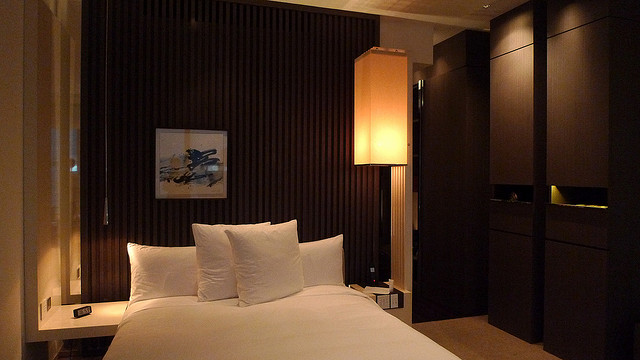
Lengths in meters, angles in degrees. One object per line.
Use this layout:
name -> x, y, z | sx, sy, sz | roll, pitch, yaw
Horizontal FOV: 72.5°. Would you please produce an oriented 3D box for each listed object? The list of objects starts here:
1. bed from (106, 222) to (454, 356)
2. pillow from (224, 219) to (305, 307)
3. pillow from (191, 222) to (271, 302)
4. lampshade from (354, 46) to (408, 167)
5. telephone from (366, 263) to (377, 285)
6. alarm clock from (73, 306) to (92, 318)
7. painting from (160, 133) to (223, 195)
bed -> -0.660, 1.056, 4.501 | 2.820, 1.100, 1.604 | -2, 3, -12
pillow -> -0.581, 0.921, 4.903 | 0.940, 0.838, 0.326 | -4, -6, -43
pillow -> -0.985, 0.922, 4.767 | 0.804, 0.674, 0.292 | -3, -10, -14
lampshade -> 0.722, -0.884, 5.310 | 0.650, 1.397, 0.351 | -1, 3, 9
telephone -> 0.670, 1.215, 5.657 | 0.079, 0.282, 0.133 | -4, 4, -38
alarm clock -> -2.663, 1.458, 4.836 | 0.152, 0.100, 0.036 | 11, -27, -44
painting -> -1.596, -0.205, 5.229 | 0.774, 0.734, 0.031 | 1, 1, -8
